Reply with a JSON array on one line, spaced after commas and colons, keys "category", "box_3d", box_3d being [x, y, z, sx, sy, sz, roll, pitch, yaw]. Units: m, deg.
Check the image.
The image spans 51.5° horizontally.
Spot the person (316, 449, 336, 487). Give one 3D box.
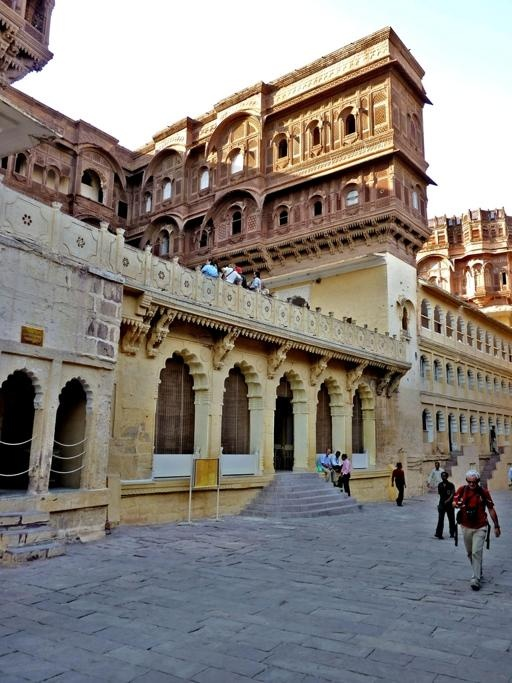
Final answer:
[{"category": "person", "box_3d": [2.193, 4.009, 16.975, 0.581, 1.060, 0.839, 1, -13, 6]}]

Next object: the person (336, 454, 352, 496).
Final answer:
[{"category": "person", "box_3d": [2.722, 4.205, 16.651, 0.399, 1.277, 0.938, 1, -13, 8]}]
